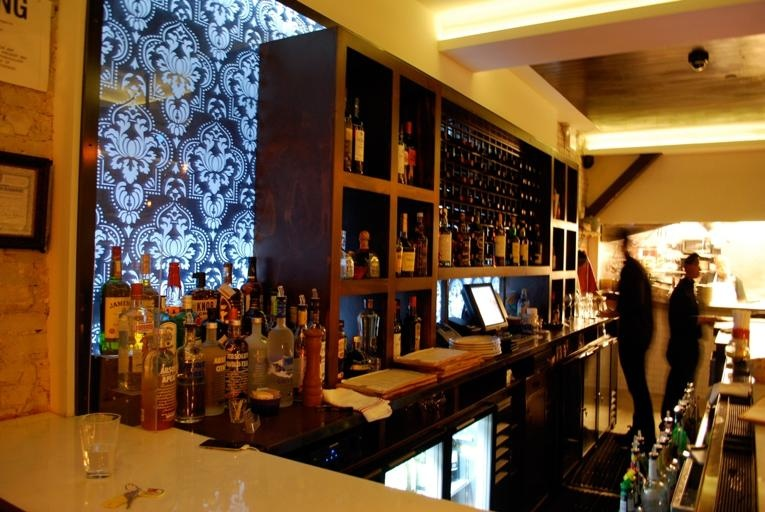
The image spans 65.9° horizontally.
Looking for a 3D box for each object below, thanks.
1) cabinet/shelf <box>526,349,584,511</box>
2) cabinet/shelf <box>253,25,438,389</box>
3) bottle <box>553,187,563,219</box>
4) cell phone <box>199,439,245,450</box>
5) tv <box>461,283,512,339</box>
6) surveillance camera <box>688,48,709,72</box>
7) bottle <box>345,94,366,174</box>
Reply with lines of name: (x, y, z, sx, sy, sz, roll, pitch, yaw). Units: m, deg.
cabinet/shelf: (1.392, 1.452, 4.859, 0.475, 1.190, 1.266, -1, -3, 25)
cabinet/shelf: (-0.230, -0.318, 3.706, 0.519, 1.792, 0.982, 11, 5, 39)
bottle: (1.786, -0.511, 6.073, 0.115, 0.316, 0.510, 6, 11, 17)
cell phone: (-0.673, 0.781, 2.475, 0.213, 0.023, 0.127, 0, -6, -13)
tv: (0.849, 0.443, 4.897, 0.190, 0.402, 0.468, -10, -5, 36)
surveillance camera: (2.548, -1.590, 4.788, 0.139, 0.201, 0.089, 5, 25, 23)
bottle: (-0.169, -0.719, 3.524, 0.128, 0.445, 0.385, 2, 10, -2)
